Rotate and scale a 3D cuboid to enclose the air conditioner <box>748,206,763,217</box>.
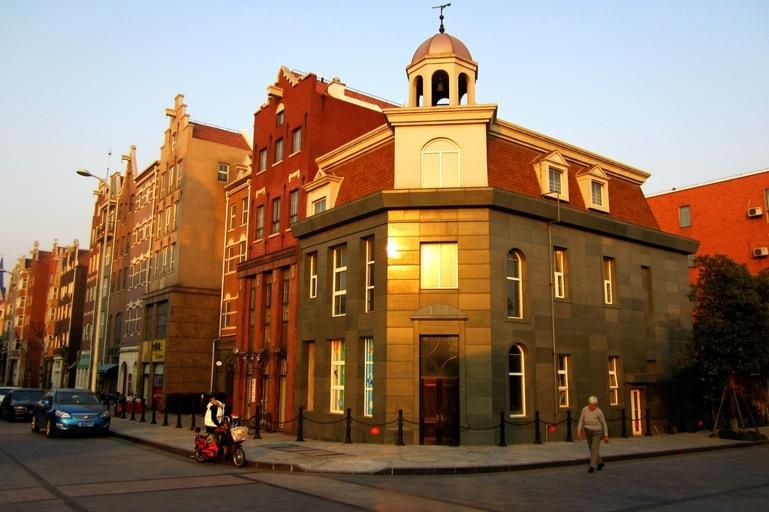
[{"bbox_3d":[26.110,-3.138,45.873,0.910,0.629,0.750,-16,-24,38],"label":"air conditioner"}]

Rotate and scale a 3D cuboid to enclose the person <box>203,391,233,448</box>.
[{"bbox_3d":[-6.176,6.057,23.952,0.805,1.961,1.351,4,-19,-14],"label":"person"}]
